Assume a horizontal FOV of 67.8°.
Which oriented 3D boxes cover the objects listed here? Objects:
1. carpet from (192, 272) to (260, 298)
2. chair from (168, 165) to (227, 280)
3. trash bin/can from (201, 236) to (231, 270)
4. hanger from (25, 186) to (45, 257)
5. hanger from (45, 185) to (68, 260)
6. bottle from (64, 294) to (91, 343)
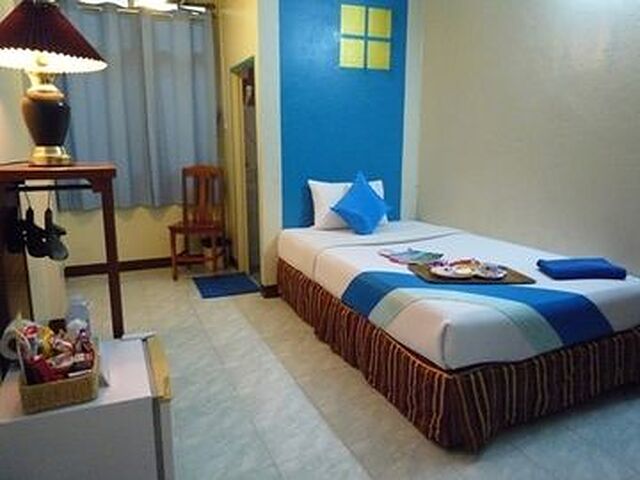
[{"bbox_3d":[-0.942,0.412,4.757,0.570,0.090,0.701,-9,15,-21],"label":"carpet"},{"bbox_3d":[-1.303,-0.232,5.132,0.621,1.125,0.865,-6,14,-10],"label":"chair"},{"bbox_3d":[-1.266,0.100,5.363,0.338,0.366,0.338,6,-2,-36],"label":"trash bin/can"},{"bbox_3d":[-1.443,-0.078,2.394,0.077,0.309,0.075,-9,3,-27],"label":"hanger"},{"bbox_3d":[-1.313,-0.071,2.332,0.084,0.353,0.082,-13,13,-36],"label":"hanger"},{"bbox_3d":[-1.157,0.377,2.265,0.084,0.278,0.084,15,24,-7],"label":"bottle"}]
